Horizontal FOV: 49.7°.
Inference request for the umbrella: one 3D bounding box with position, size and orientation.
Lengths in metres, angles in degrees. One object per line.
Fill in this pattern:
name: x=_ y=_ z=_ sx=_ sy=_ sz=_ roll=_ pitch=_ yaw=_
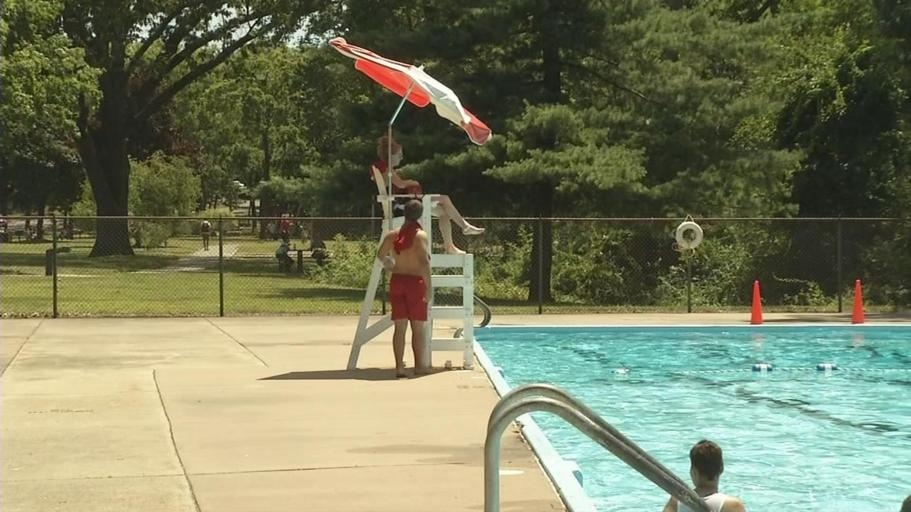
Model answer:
umbrella: x=-1.483 y=-3.984 z=27.236 sx=3.579 sy=2.512 sz=3.563 roll=21 pitch=6 yaw=-20
